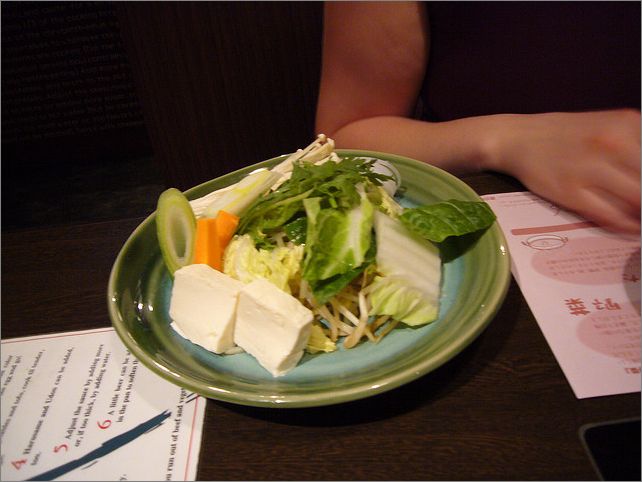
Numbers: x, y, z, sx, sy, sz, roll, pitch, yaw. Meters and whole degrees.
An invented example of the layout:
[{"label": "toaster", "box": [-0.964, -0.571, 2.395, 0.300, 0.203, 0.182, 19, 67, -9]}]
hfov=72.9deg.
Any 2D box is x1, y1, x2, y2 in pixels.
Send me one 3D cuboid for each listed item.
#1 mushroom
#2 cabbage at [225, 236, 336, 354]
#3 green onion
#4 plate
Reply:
[{"label": "mushroom", "box": [-0.178, -0.163, 1.295, 0.646, 0.162, 0.103, -25, 81, -30]}, {"label": "cabbage", "box": [-0.089, 0.134, 0.998, 0.283, 0.158, 0.346, -5, 27, -11]}, {"label": "green onion", "box": [-0.381, -0.010, 1.119, 0.034, 0.148, 0.250, -11, 81, 21]}, {"label": "plate", "box": [-0.075, -0.011, 1.209, 1.111, 0.491, 0.852, -9, 21, -32]}]
